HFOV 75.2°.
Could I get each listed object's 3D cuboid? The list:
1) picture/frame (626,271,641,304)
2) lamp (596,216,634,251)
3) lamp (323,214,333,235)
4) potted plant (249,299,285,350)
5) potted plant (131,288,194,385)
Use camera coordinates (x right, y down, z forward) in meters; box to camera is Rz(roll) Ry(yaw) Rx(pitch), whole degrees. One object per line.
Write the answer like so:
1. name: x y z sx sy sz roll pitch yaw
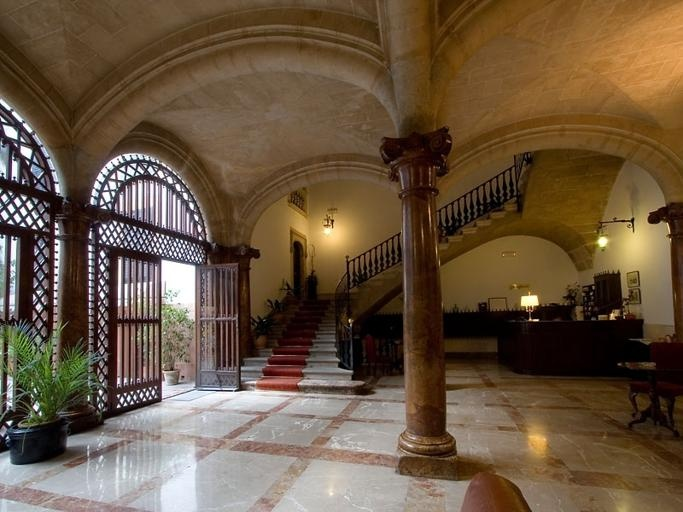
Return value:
1. picture/frame: 6.182 0.648 9.335 0.094 0.813 0.644 1 -2 21
2. lamp: 6.127 -0.515 10.058 0.536 0.698 1.803 -1 0 18
3. lamp: -0.440 -1.049 14.313 0.390 0.549 0.225 -1 0 19
4. potted plant: -1.734 1.627 10.875 0.798 1.443 0.852 4 -6 -31
5. potted plant: -3.663 1.745 9.869 0.645 2.139 0.965 -1 0 -20
